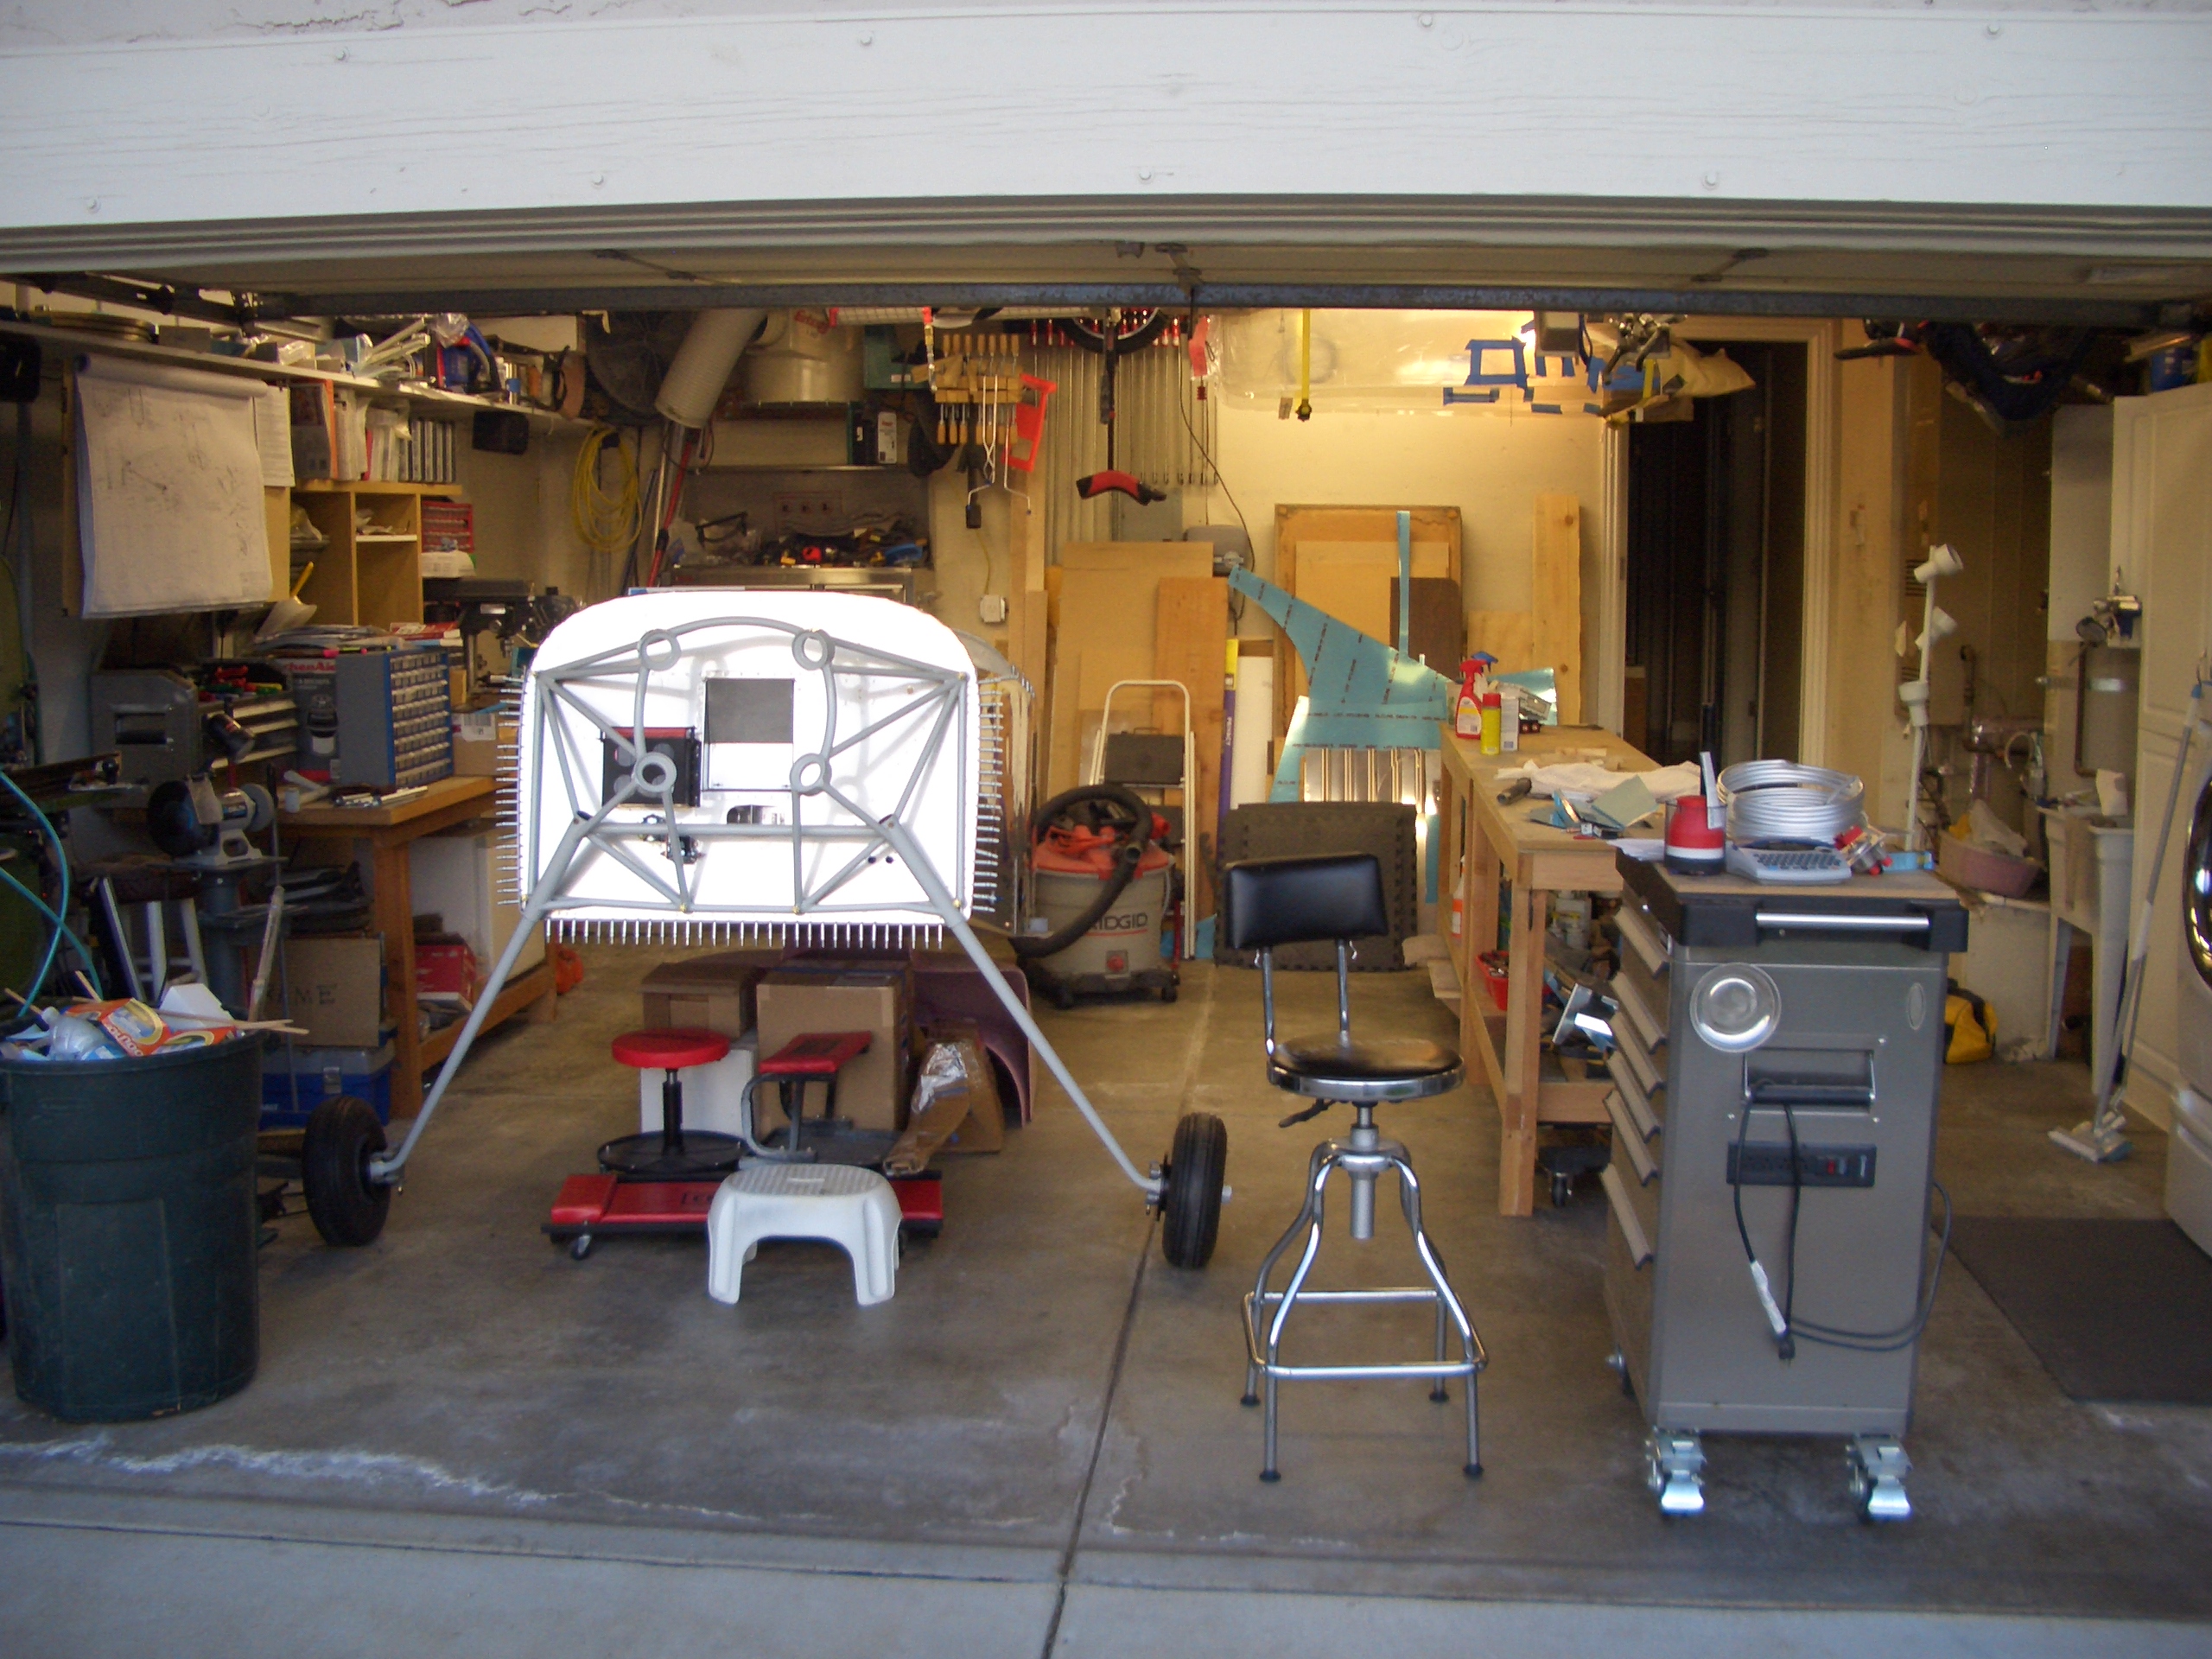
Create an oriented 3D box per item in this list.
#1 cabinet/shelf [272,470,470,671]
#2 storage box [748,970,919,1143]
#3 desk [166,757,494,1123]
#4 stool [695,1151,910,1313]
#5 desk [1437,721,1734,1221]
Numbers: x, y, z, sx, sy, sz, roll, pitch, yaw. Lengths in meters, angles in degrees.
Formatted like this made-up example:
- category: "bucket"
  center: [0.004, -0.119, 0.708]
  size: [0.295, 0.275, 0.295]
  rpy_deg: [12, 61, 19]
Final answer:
- category: "cabinet/shelf"
  center: [-2.969, -1.037, 8.047]
  size: [0.297, 0.896, 0.945]
  rpy_deg: [0, 2, 13]
- category: "storage box"
  center: [-0.820, 0.665, 6.408]
  size: [0.476, 0.529, 0.495]
  rpy_deg: [0, 10, 3]
- category: "desk"
  center: [-2.643, 0.348, 7.181]
  size: [1.149, 1.149, 0.866]
  rpy_deg: [1, 3, 1]
- category: "stool"
  center: [-0.833, 1.117, 5.719]
  size: [0.390, 0.221, 0.421]
  rpy_deg: [1, 4, 2]
- category: "desk"
  center: [1.376, 0.440, 5.854]
  size: [0.408, 0.785, 1.461]
  rpy_deg: [1, 9, 8]
